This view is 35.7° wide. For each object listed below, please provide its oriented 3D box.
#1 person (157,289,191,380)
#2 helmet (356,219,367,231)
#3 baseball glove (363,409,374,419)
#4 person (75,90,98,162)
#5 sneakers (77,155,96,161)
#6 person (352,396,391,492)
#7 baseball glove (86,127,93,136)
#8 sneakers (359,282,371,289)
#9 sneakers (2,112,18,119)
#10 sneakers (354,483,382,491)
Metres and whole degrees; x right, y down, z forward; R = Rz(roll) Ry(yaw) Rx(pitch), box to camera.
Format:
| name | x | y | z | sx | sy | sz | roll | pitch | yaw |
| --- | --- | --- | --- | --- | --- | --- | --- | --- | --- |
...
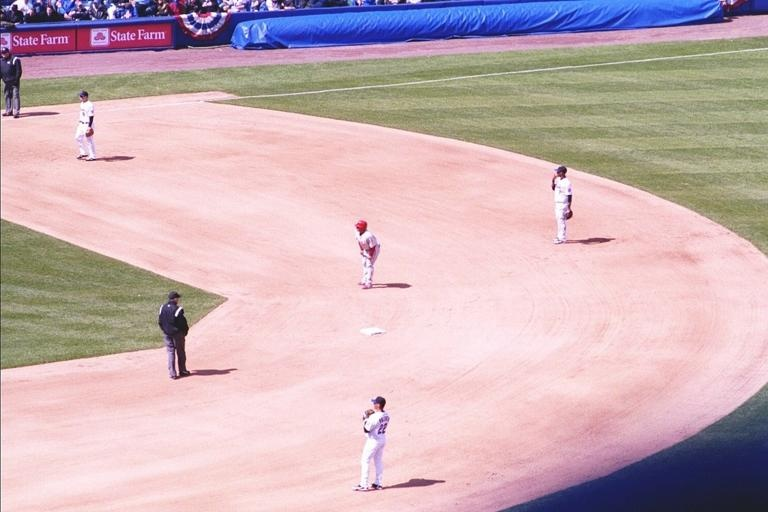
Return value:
| name | x | y | z | sx | sy | sz | roll | pitch | yaw |
| --- | --- | --- | --- | --- | --- | --- | --- | --- | --- |
| person | -5.385 | 2.013 | 30.658 | 0.697 | 2.117 | 0.985 | -6 | 23 | -9 |
| helmet | -0.717 | -0.917 | 33.865 | 0.456 | 0.290 | 0.317 | 6 | 12 | 14 |
| baseball glove | -0.271 | 3.625 | 27.290 | 0.348 | 0.086 | 0.244 | -28 | 9 | -25 |
| person | -10.069 | -4.436 | 39.979 | 0.638 | 2.469 | 0.848 | -9 | 24 | -15 |
| sneakers | -10.169 | -3.420 | 40.568 | 0.689 | 0.190 | 0.197 | 5 | 8 | 11 |
| person | -0.278 | 4.302 | 27.389 | 0.702 | 2.079 | 1.004 | 1 | 22 | 6 |
| baseball glove | -9.883 | -4.223 | 39.932 | 0.196 | 0.364 | 0.496 | -4 | 20 | -7 |
| sneakers | -0.531 | 0.822 | 34.416 | 0.270 | 0.196 | 0.603 | 0 | -3 | 5 |
| sneakers | -13.846 | -5.340 | 44.200 | 0.745 | 0.213 | 0.230 | 0 | 5 | 26 |
| sneakers | -0.326 | 5.308 | 27.437 | 0.666 | 0.194 | 0.185 | 2 | 4 | 4 |
